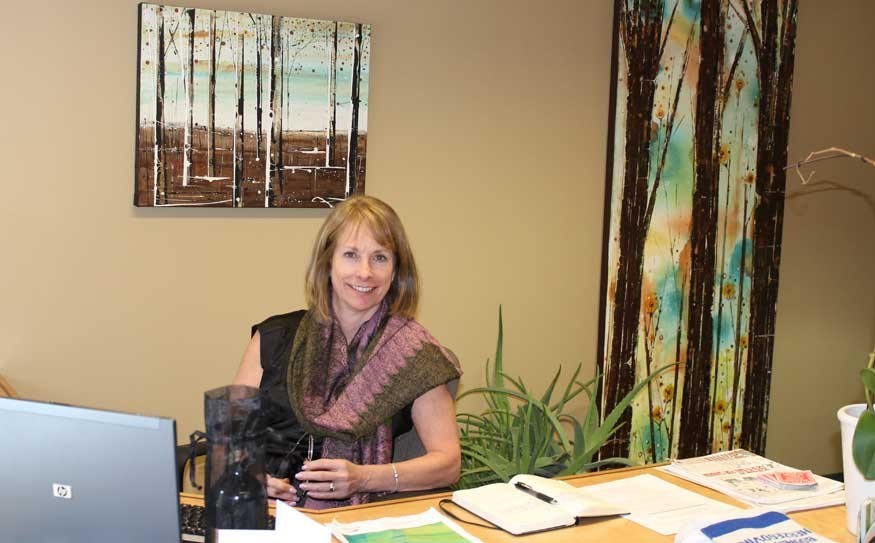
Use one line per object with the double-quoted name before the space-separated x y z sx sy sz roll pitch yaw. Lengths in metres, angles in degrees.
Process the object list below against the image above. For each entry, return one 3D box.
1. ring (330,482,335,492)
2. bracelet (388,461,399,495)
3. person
"ring" -0.378 0.773 2.740 0.022 0.029 0.031 2 -19 -3
"bracelet" -0.159 0.774 2.857 0.020 0.078 0.080 0 -8 -15
"person" -0.417 0.460 3.086 1.011 1.459 0.823 9 15 15
